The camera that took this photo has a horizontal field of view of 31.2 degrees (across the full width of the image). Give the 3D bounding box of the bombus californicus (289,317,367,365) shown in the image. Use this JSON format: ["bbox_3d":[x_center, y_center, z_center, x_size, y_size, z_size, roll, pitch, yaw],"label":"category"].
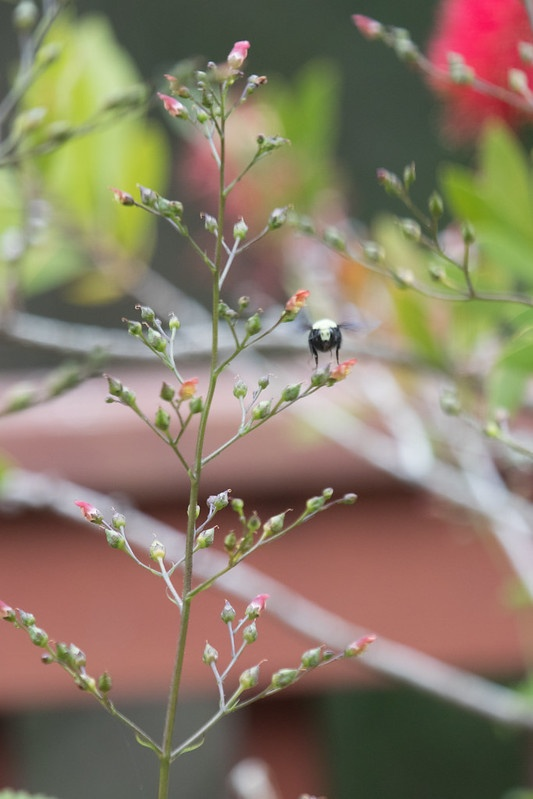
[{"bbox_3d":[0.040,-0.040,0.659,0.072,0.029,0.047,-2,4,9],"label":"bombus californicus"}]

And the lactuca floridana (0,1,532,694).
[{"bbox_3d":[-0.042,-0.070,1.144,0.724,0.561,0.155,0,31,-4],"label":"lactuca floridana"}]
